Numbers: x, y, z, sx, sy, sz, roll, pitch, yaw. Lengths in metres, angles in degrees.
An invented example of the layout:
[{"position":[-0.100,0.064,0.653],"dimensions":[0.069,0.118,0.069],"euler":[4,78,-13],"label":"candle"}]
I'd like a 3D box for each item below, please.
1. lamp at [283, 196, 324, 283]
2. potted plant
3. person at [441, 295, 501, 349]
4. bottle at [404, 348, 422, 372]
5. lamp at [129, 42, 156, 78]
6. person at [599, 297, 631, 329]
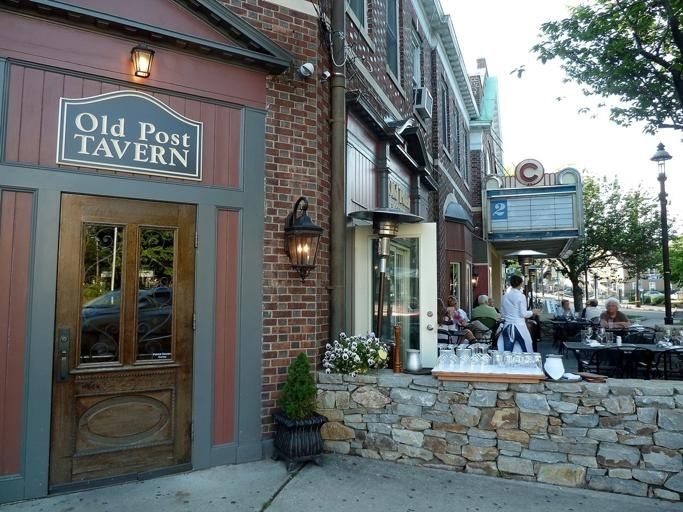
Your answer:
[{"position":[-0.567,-0.228,7.775],"dimensions":[0.550,1.189,0.320],"euler":[4,13,8],"label":"lamp"},{"position":[-0.598,2.049,7.460],"dimensions":[0.666,1.402,0.816],"euler":[-5,15,-26],"label":"potted plant"},{"position":[2.751,1.419,11.839],"dimensions":[1.051,0.905,1.658],"euler":[-2,-10,17],"label":"person"},{"position":[1.033,1.517,7.973],"dimensions":[0.273,0.288,0.215],"euler":[4,-9,-23],"label":"bottle"},{"position":[-2.567,-2.514,7.042],"dimensions":[0.331,0.420,0.338],"euler":[1,3,37],"label":"lamp"},{"position":[5.683,1.248,11.570],"dimensions":[0.556,0.764,0.533],"euler":[0,-6,-24],"label":"person"}]
